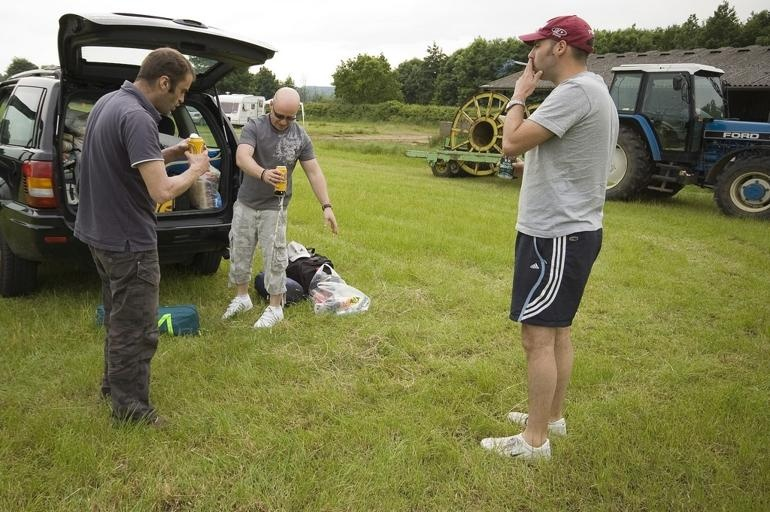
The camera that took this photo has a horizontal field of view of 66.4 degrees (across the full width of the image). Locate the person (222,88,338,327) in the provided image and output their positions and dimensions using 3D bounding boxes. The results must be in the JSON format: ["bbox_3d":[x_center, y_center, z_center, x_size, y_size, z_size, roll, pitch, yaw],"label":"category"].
[{"bbox_3d":[-1.085,-0.508,5.730,1.037,2.220,0.912,3,14,7],"label":"person"}]

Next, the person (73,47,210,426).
[{"bbox_3d":[-1.740,-0.139,4.183,0.822,2.590,0.588,-6,16,-27],"label":"person"}]

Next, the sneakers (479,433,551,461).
[{"bbox_3d":[0.928,1.353,4.246,0.528,0.179,0.181,3,1,15],"label":"sneakers"}]

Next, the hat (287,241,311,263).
[{"bbox_3d":[-0.983,-0.051,6.536,0.220,0.085,0.242,-5,23,-33],"label":"hat"}]

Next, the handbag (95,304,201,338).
[{"bbox_3d":[-2.034,0.604,5.418,0.611,0.169,0.452,2,13,-15],"label":"handbag"}]

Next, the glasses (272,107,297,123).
[{"bbox_3d":[-0.935,-1.316,5.504,0.234,0.118,0.184,-8,17,-33],"label":"glasses"}]

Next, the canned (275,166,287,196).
[{"bbox_3d":[-0.950,-0.680,5.338,0.097,0.269,0.199,-2,14,-13],"label":"canned"}]

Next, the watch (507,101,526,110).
[{"bbox_3d":[0.872,-1.001,3.922,0.111,0.059,0.080,3,14,8],"label":"watch"}]

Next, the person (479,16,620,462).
[{"bbox_3d":[1.128,-0.096,4.055,0.701,2.975,0.671,6,15,19],"label":"person"}]

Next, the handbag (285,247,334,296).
[{"bbox_3d":[-0.842,0.139,6.307,0.372,0.192,0.475,-13,20,-35],"label":"handbag"}]

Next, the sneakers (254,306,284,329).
[{"bbox_3d":[-1.122,0.593,5.646,0.133,0.126,0.331,5,8,14],"label":"sneakers"}]

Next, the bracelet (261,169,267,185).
[{"bbox_3d":[-1.111,-0.733,5.314,0.056,0.093,0.081,7,-3,-5],"label":"bracelet"}]

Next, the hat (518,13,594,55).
[{"bbox_3d":[1.191,-1.481,3.958,0.388,0.238,0.352,-3,15,-18],"label":"hat"}]
